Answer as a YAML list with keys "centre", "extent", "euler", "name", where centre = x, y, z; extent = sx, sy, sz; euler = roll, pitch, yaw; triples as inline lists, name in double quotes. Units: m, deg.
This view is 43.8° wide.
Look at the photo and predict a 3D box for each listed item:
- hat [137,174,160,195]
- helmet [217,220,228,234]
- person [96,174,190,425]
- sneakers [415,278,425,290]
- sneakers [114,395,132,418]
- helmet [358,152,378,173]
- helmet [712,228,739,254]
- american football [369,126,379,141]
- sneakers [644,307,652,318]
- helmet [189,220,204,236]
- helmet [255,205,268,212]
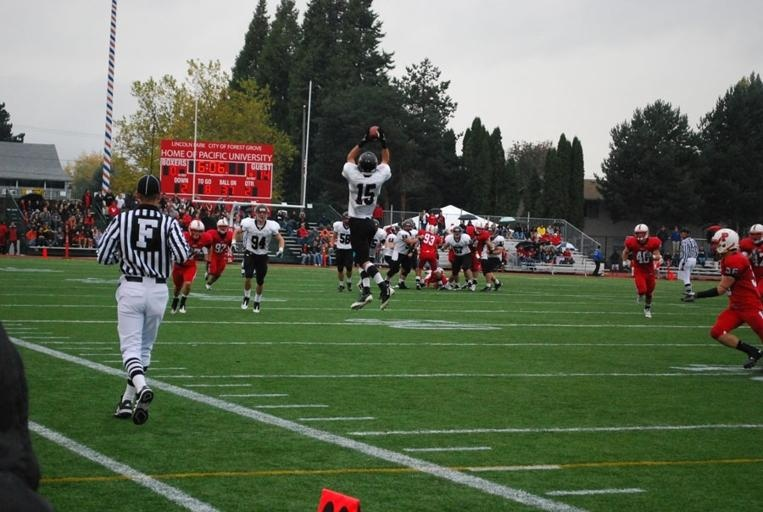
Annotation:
- centre: [-2.580, -0.781, 10.523]
  extent: [0.180, 0.262, 0.144]
  euler: [1, -19, -5]
  name: "hat"
- centre: [-3.513, -0.688, 21.070]
  extent: [0.239, 0.330, 0.514]
  euler: [1, 8, -5]
  name: "helmet"
- centre: [-2.650, 0.422, 10.526]
  extent: [0.981, 2.613, 1.411]
  euler: [0, 8, -13]
  name: "person"
- centre: [1.155, 0.810, 27.440]
  extent: [0.131, 0.183, 0.426]
  euler: [-10, -21, 4]
  name: "sneakers"
- centre: [-2.812, 1.651, 10.355]
  extent: [0.124, 0.149, 0.307]
  euler: [4, 1, -18]
  name: "sneakers"
- centre: [-0.195, -1.445, 14.780]
  extent: [0.265, 0.267, 0.331]
  euler: [5, 21, -2]
  name: "helmet"
- centre: [5.158, -0.233, 14.232]
  extent: [0.393, 0.333, 0.309]
  euler: [3, 6, 35]
  name: "helmet"
- centre: [-0.084, -1.791, 13.797]
  extent: [0.191, 0.186, 0.143]
  euler: [9, 3, -27]
  name: "american football"
- centre: [5.742, 1.190, 20.251]
  extent: [0.130, 0.175, 0.389]
  euler: [-1, 1, 2]
  name: "sneakers"
- centre: [-3.794, -0.609, 19.553]
  extent: [0.264, 0.279, 0.339]
  euler: [8, 0, -23]
  name: "helmet"
- centre: [-2.360, -0.956, 18.832]
  extent: [0.171, 0.189, 0.196]
  euler: [4, 5, -16]
  name: "helmet"
